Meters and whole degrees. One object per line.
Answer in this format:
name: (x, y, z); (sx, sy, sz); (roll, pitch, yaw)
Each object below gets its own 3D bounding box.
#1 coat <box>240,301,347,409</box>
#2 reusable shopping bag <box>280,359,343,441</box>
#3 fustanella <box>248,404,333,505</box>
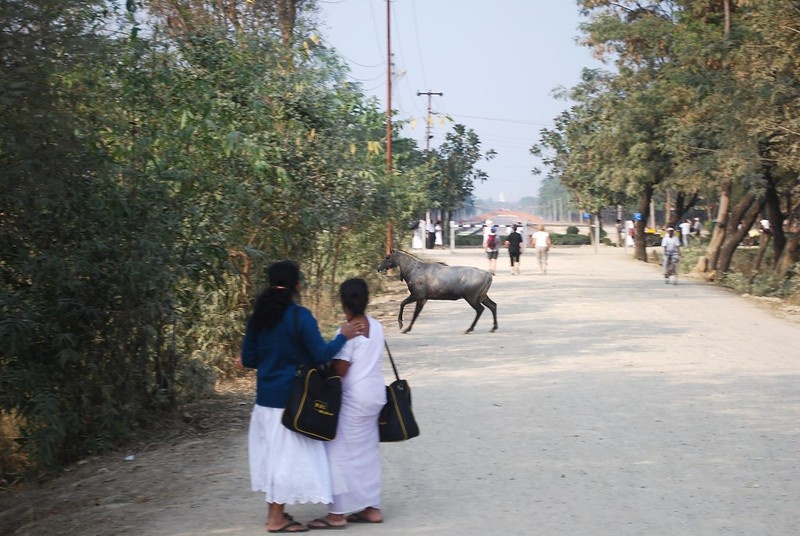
coat: (-1.318, 0.888, 9.152); (1.759, 1.152, 0.899); (2, 0, 39)
reusable shopping bag: (-0.955, 1.470, 9.075); (0.686, 0.857, 0.307); (-6, 13, -20)
fustanella: (-1.102, 2.083, 9.552); (1.118, 1.046, 1.116); (10, -15, 0)
